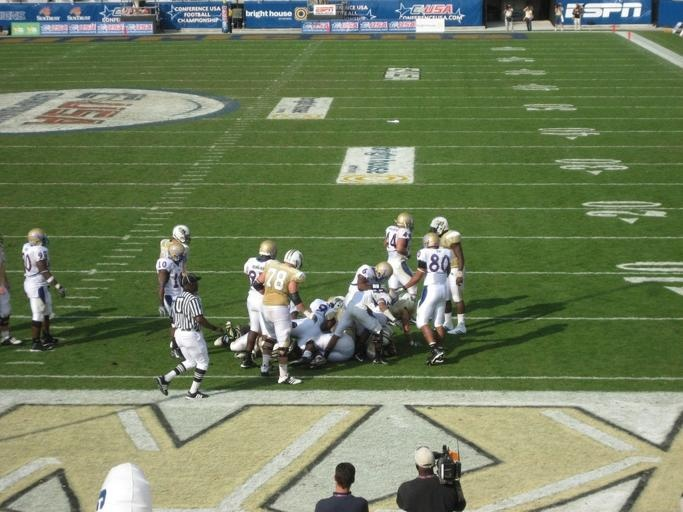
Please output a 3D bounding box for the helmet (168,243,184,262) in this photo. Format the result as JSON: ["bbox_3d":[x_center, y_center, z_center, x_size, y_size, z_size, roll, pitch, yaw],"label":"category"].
[{"bbox_3d":[-2.615,-0.062,15.389,0.228,0.321,0.221,-5,20,-8],"label":"helmet"}]

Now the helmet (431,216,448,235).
[{"bbox_3d":[1.627,-0.508,16.320,0.248,0.311,0.545,1,16,9],"label":"helmet"}]

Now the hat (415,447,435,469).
[{"bbox_3d":[0.914,2.213,10.834,0.230,0.118,0.259,0,21,4],"label":"hat"}]

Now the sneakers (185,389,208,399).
[{"bbox_3d":[-2.131,2.011,14.309,0.378,0.093,0.106,-1,8,-12],"label":"sneakers"}]

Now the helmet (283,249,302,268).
[{"bbox_3d":[-0.751,0.029,14.857,0.254,0.278,0.451,-1,16,1],"label":"helmet"}]

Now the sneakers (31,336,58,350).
[{"bbox_3d":[-4.824,1.405,15.980,0.548,0.142,0.146,-6,15,-21],"label":"sneakers"}]

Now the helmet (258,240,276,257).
[{"bbox_3d":[-1.184,-0.134,15.424,0.281,0.202,0.343,16,13,28],"label":"helmet"}]

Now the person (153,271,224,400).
[{"bbox_3d":[-2.345,1.148,14.490,0.740,1.708,1.103,-3,20,-3],"label":"person"}]

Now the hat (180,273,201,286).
[{"bbox_3d":[-2.263,0.344,14.634,0.371,0.121,0.232,-5,6,-35],"label":"hat"}]

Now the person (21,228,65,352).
[{"bbox_3d":[-4.937,0.509,16.020,0.625,1.899,1.057,-8,21,-15],"label":"person"}]

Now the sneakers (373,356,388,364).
[{"bbox_3d":[0.597,1.632,15.440,0.263,0.064,0.088,0,8,-1],"label":"sneakers"}]

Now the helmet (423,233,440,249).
[{"bbox_3d":[1.420,-0.258,15.557,0.236,0.211,0.268,-2,17,-3],"label":"helmet"}]

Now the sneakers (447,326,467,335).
[{"bbox_3d":[1.939,1.218,16.486,0.329,0.144,0.192,1,17,6],"label":"sneakers"}]
